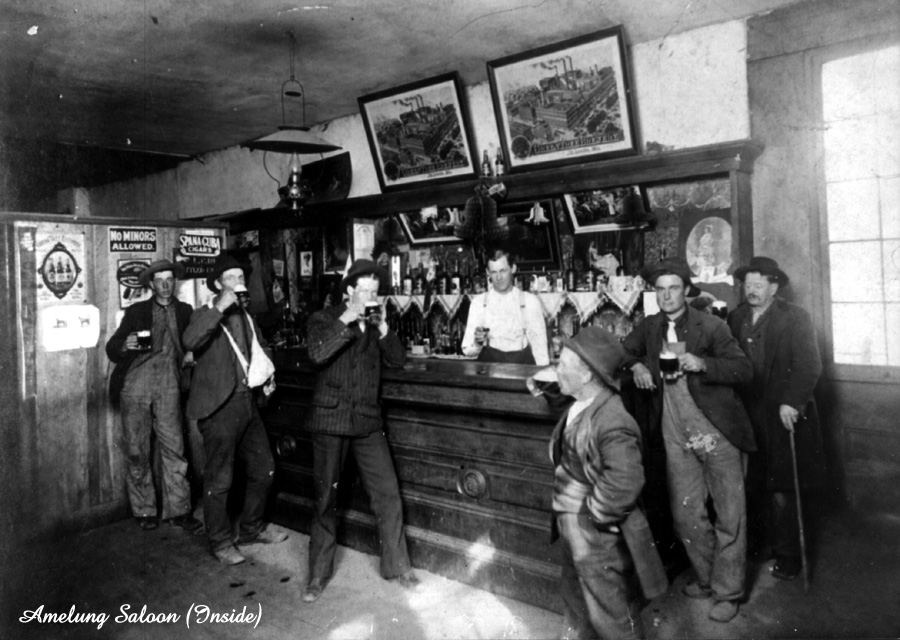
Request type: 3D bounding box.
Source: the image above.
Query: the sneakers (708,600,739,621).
[{"bbox_3d":[2.058,2.144,5.294,0.258,0.135,0.110,-3,15,-5],"label":"sneakers"}]

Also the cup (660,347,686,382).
[{"bbox_3d":[1.646,0.320,5.130,0.172,0.274,0.283,0,-2,16],"label":"cup"}]

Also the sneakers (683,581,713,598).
[{"bbox_3d":[1.911,2.062,5.469,0.160,0.112,0.102,-4,6,18],"label":"sneakers"}]

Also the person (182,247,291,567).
[{"bbox_3d":[-1.900,0.766,6.227,0.703,2.570,0.937,0,15,8],"label":"person"}]

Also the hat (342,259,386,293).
[{"bbox_3d":[-0.710,-0.363,5.681,0.289,0.242,0.225,-6,16,-14],"label":"hat"}]

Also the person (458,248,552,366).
[{"bbox_3d":[0.568,0.150,7.152,0.867,1.614,0.783,-6,14,-6],"label":"person"}]

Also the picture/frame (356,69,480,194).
[{"bbox_3d":[-0.327,-2.063,8.041,1.579,1.158,0.138,2,19,44],"label":"picture/frame"}]

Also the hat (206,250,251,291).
[{"bbox_3d":[-2.147,-0.466,6.864,0.459,0.207,0.529,-10,-17,-41],"label":"hat"}]

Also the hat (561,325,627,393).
[{"bbox_3d":[0.939,0.272,4.644,0.373,0.414,0.266,-2,15,-1],"label":"hat"}]

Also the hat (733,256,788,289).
[{"bbox_3d":[2.563,-0.409,5.935,0.277,0.121,0.314,22,-1,-9],"label":"hat"}]

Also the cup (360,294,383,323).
[{"bbox_3d":[-0.617,-0.073,5.584,0.128,0.203,0.152,7,42,-9],"label":"cup"}]

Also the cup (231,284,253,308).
[{"bbox_3d":[-1.762,-0.203,6.130,0.159,0.203,0.195,-3,-8,-39],"label":"cup"}]

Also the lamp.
[{"bbox_3d":[-1.555,-1.772,7.113,0.915,1.343,0.933,8,13,42],"label":"lamp"}]

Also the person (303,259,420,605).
[{"bbox_3d":[-0.786,0.821,5.712,0.891,2.528,0.847,-4,15,-6],"label":"person"}]
